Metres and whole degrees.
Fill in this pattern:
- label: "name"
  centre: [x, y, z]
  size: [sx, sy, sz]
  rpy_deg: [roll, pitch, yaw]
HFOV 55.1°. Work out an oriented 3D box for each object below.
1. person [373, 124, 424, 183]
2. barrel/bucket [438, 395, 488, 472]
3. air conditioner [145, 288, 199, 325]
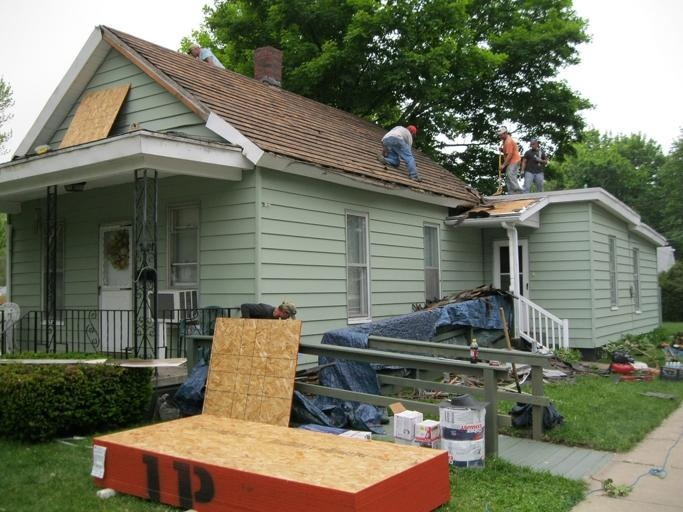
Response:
- label: "person"
  centre: [1.489, -2.466, 15.462]
  size: [1.058, 1.316, 1.033]
  rpy_deg: [8, 6, -26]
- label: "barrel/bucket"
  centre: [1.631, 2.351, 8.731]
  size: [0.622, 0.940, 0.304]
  rpy_deg: [-2, -5, 6]
- label: "air conditioner"
  centre: [-3.108, 0.926, 12.076]
  size: [0.617, 0.714, 1.092]
  rpy_deg: [0, -2, 13]
